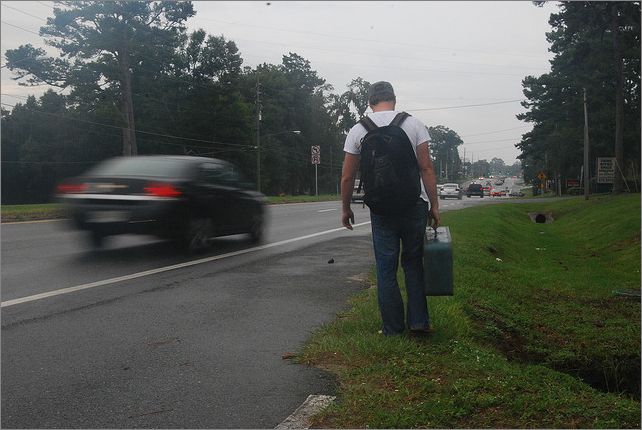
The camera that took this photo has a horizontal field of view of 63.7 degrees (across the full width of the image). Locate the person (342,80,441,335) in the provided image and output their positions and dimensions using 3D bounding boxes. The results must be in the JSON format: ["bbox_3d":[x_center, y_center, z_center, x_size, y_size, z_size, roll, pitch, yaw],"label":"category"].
[{"bbox_3d":[0.809,-0.050,6.047,1.119,2.958,0.609,3,8,12],"label":"person"}]

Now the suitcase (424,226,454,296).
[{"bbox_3d":[1.350,0.554,5.975,0.375,0.774,0.746,-1,3,6],"label":"suitcase"}]

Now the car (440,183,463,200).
[{"bbox_3d":[12.152,-2.168,48.608,1.212,0.991,2.997,1,7,17],"label":"car"}]

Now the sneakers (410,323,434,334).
[{"bbox_3d":[1.189,1.328,6.143,0.238,0.111,0.114,0,0,-16],"label":"sneakers"}]

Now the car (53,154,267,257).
[{"bbox_3d":[-3.105,-0.313,11.310,1.917,1.387,4.406,2,3,22],"label":"car"}]
